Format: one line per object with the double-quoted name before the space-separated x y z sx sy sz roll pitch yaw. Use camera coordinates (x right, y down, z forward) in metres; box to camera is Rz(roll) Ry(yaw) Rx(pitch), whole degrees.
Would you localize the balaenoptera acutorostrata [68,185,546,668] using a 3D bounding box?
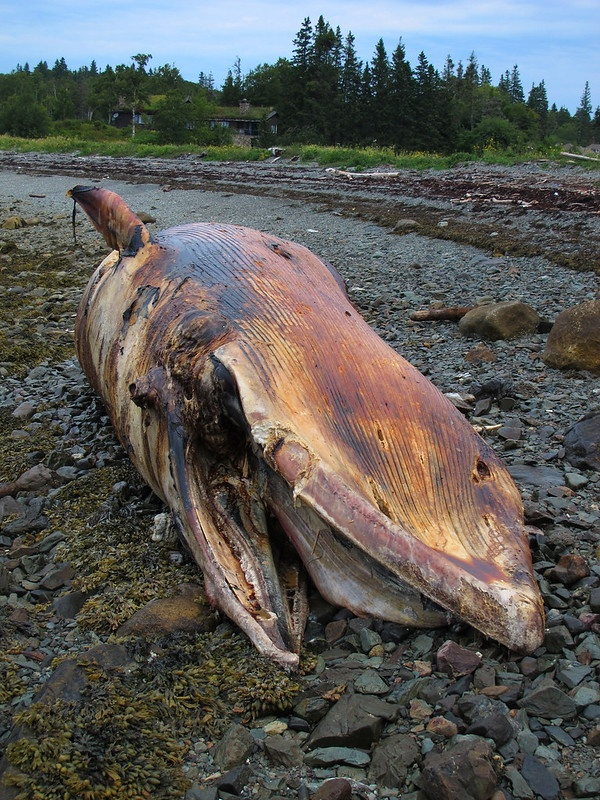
"balaenoptera acutorostrata" -0.120 0.006 2.816 1.314 0.655 2.128 -9 32 -27
